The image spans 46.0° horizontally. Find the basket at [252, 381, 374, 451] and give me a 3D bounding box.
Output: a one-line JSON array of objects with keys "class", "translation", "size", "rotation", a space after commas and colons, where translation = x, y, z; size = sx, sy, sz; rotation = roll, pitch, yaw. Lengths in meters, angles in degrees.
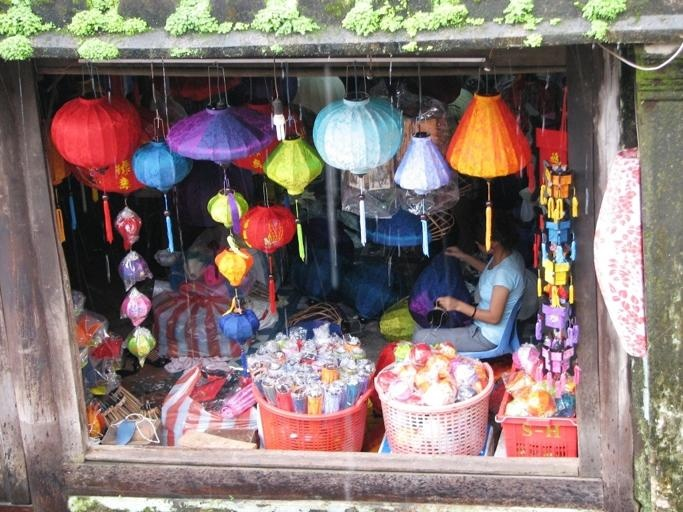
[{"class": "basket", "translation": [-0.168, 1.218, 6.296], "size": [0.567, 0.473, 0.595], "rotation": [13, 22, 37]}]

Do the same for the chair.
[{"class": "chair", "translation": [1.376, 0.560, 7.402], "size": [0.519, 0.869, 0.539], "rotation": [1, 11, 2]}]
